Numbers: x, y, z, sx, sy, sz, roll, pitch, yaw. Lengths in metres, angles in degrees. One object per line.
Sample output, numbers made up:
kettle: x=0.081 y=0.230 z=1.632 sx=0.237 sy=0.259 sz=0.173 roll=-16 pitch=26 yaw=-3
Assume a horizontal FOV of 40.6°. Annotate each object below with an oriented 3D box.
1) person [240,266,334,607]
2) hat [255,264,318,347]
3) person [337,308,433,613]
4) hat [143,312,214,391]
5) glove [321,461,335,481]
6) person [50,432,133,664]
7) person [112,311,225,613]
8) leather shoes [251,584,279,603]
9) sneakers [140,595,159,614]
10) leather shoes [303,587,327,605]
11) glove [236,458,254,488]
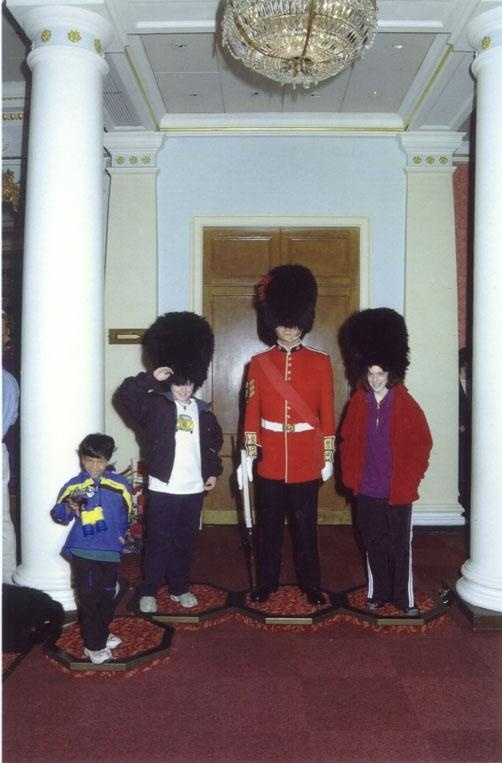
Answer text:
person: x=0.180 y=0.244 z=3.279 sx=0.430 sy=1.619 sz=0.259 roll=1 pitch=3 yaw=4
hat: x=0.183 y=-0.405 z=3.409 sx=0.374 sy=0.540 sz=0.178 roll=0 pitch=7 yaw=3
person: x=0.609 y=0.353 z=3.198 sx=0.284 sy=1.400 sz=0.477 roll=0 pitch=3 yaw=-22
hat: x=-0.340 y=-0.155 z=3.304 sx=0.315 sy=0.376 sz=0.164 roll=6 pitch=-6 yaw=-9
glove: x=0.363 y=0.429 z=3.257 sx=0.046 sy=0.119 sz=0.188 roll=1 pitch=3 yaw=10
person: x=-0.623 y=0.643 z=2.662 sx=0.296 sy=0.877 sz=0.228 roll=0 pitch=3 yaw=-17
person: x=-0.371 y=0.365 z=3.198 sx=0.497 sy=1.394 sz=0.315 roll=-1 pitch=3 yaw=-24
leather shoes: x=0.060 y=1.043 z=3.303 sx=0.044 sy=0.052 sz=0.124 roll=-7 pitch=-12 yaw=30
sneakers: x=-0.477 y=1.034 z=3.153 sx=0.084 sy=0.063 sz=0.121 roll=0 pitch=3 yaw=-10
leather shoes: x=0.311 y=1.026 z=3.258 sx=0.114 sy=0.055 sz=0.175 roll=1 pitch=3 yaw=-2
glove: x=-0.030 y=0.431 z=3.278 sx=0.100 sy=0.143 sz=0.039 roll=5 pitch=6 yaw=12
